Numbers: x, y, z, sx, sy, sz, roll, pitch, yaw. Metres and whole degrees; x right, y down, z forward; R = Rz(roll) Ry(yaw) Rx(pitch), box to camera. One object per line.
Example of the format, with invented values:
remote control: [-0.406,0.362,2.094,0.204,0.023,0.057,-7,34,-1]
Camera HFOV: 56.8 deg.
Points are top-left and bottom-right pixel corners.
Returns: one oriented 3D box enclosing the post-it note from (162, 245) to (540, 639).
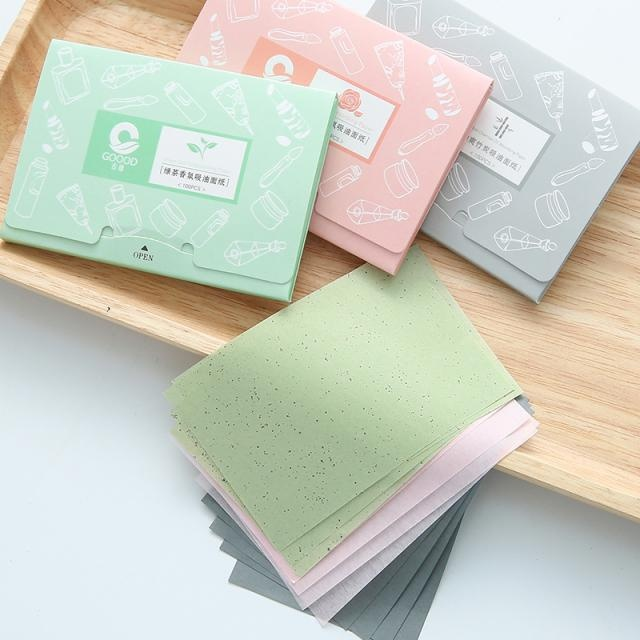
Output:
post-it note: [0.041,0.133,0.700,0.324,0.312,0.303,-27,61,-28]
